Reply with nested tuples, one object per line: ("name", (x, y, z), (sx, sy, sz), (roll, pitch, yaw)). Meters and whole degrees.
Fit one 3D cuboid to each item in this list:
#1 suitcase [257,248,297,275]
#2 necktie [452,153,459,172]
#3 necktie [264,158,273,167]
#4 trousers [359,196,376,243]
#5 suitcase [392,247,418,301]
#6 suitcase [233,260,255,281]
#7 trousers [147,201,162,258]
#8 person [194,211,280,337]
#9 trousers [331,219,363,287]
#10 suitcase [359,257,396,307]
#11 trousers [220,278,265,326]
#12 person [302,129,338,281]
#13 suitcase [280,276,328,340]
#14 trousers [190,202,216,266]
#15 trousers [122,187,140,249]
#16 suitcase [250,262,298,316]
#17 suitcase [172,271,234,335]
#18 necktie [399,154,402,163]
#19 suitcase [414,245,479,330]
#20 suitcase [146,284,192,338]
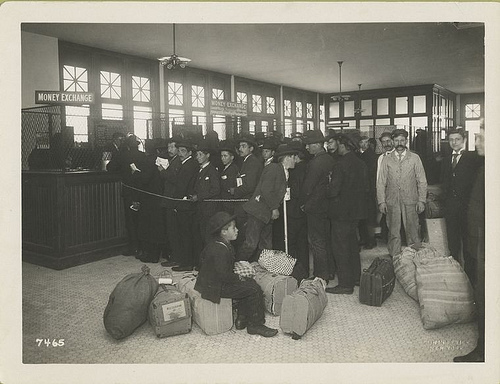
("suitcase", (0.334, 0.830, 5.695), (0.275, 0.159, 0.354), (7, -1, 44))
("necktie", (2.529, -0.373, 5.864), (0.066, 0.207, 0.070), (-5, 9, -27))
("necktie", (0.239, -0.375, 5.890), (0.099, 0.083, 0.094), (-1, 8, 1))
("trousers", (1.918, 0.428, 7.640), (0.224, 0.773, 0.273), (-2, 8, -5))
("suitcase", (1.908, 0.972, 5.781), (0.357, 0.485, 0.161), (-5, -11, -35))
("suitcase", (-0.055, 0.909, 5.499), (0.195, 0.064, 0.217), (18, -1, 22))
("trousers", (-1.317, 0.521, 6.578), (0.202, 0.783, 0.141), (-2, 8, -3))
("person", (-0.170, 0.854, 5.144), (0.864, 1.320, 0.562), (-3, 8, -9))
("trousers", (1.224, 0.767, 6.002), (0.383, 0.847, 0.346), (-1, 8, 5))
("suitcase", (1.565, 1.055, 5.718), (0.365, 0.460, 0.683), (4, 7, 31))
("trousers", (-0.105, 1.188, 5.248), (0.547, 0.569, 0.340), (-4, 3, -10))
("person", (0.864, 0.185, 5.998), (0.394, 1.896, 0.315), (0, 8, 12))
("suitcase", (0.643, 1.259, 5.369), (0.329, 0.493, 0.936), (1, 4, 25))
("trousers", (-0.632, 0.567, 6.261), (0.118, 0.867, 0.364), (-8, 10, -40))
("trousers", (-1.677, 0.364, 6.698), (0.295, 0.841, 0.188), (0, 8, 12))
("suitcase", (0.263, 1.104, 5.480), (0.440, 0.332, 0.463), (-3, 7, -24))
("suitcase", (-0.679, 1.215, 5.624), (0.426, 0.581, 1.288), (-9, 7, -29))
("necktie", (2.079, -0.465, 6.533), (0.036, 0.106, 0.024), (2, 9, 25))
("suitcase", (2.170, 1.067, 5.329), (0.607, 0.702, 0.716), (-1, 8, 3))
("suitcase", (-0.860, 1.276, 5.121), (0.403, 0.373, 0.550), (-2, 10, -17))
